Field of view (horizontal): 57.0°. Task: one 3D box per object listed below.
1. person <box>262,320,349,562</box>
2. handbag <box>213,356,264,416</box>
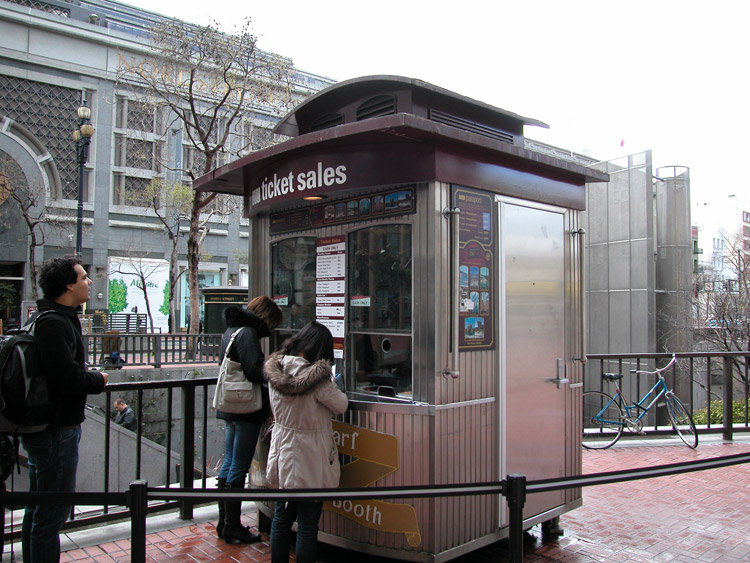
[{"bbox_3d":[-0.602,1.356,5.774,0.713,2.055,0.513,1,-4,1],"label":"person"},{"bbox_3d":[-1.266,0.953,6.413,0.442,0.535,0.235,1,-4,-5],"label":"handbag"}]
